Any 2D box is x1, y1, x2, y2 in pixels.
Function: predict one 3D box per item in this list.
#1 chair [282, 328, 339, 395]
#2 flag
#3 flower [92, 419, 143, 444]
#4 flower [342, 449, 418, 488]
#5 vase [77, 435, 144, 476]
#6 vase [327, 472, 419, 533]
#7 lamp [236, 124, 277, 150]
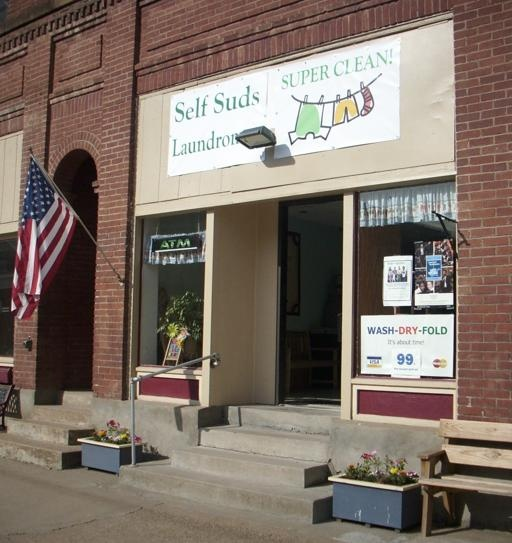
[{"bbox_3d":[0.971,1.677,11.805,0.365,1.033,1.022,-5,-8,39],"label":"chair"},{"bbox_3d":[-3.217,-0.730,9.679,0.966,3.039,0.289,-9,-31,-9],"label":"flag"},{"bbox_3d":[-1.884,2.149,8.634,0.359,0.204,0.543,3,-8,-23],"label":"flower"},{"bbox_3d":[1.201,1.934,6.333,0.323,0.185,0.500,2,-6,-17],"label":"flower"},{"bbox_3d":[-1.928,2.382,8.454,0.872,0.410,0.274,-8,-13,41],"label":"vase"},{"bbox_3d":[1.116,2.185,6.176,0.851,0.432,0.407,-2,-10,18],"label":"vase"},{"bbox_3d":[0.023,-1.638,8.119,0.294,0.176,0.324,-5,-21,31],"label":"lamp"}]
